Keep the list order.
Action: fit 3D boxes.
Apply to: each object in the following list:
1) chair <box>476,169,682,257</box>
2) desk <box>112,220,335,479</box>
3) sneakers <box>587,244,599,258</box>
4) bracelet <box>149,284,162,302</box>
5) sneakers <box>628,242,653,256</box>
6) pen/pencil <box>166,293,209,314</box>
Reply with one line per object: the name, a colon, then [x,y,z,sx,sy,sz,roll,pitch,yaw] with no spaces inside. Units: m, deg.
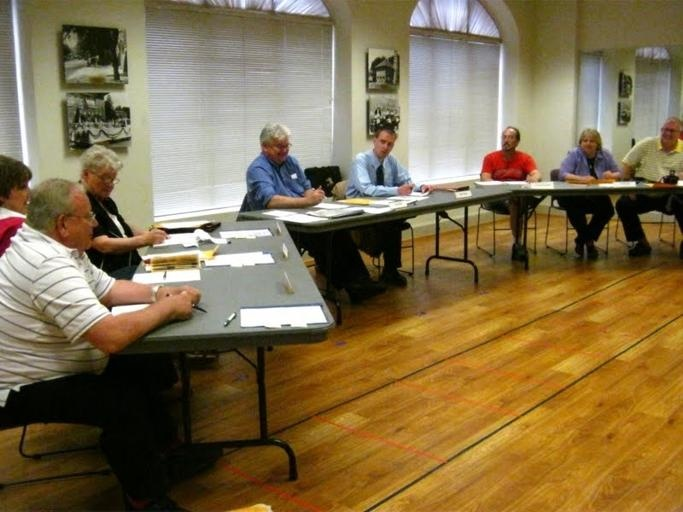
chair: [2.512,-0.378,5.810,2.047,0.888,0.848,0,15,2]
desk: [-0.424,0.844,2.883,0.778,0.480,2.187,3,-19,-3]
sneakers: [2.882,-0.048,6.131,0.086,0.162,0.253,2,11,32]
bracelet: [-0.770,0.157,2.264,0.017,0.059,0.059,4,40,-10]
sneakers: [3.367,-0.071,6.133,0.401,0.164,0.131,-4,2,-31]
pen/pencil: [-0.601,0.191,2.100,0.116,0.021,0.022,29,40,2]
